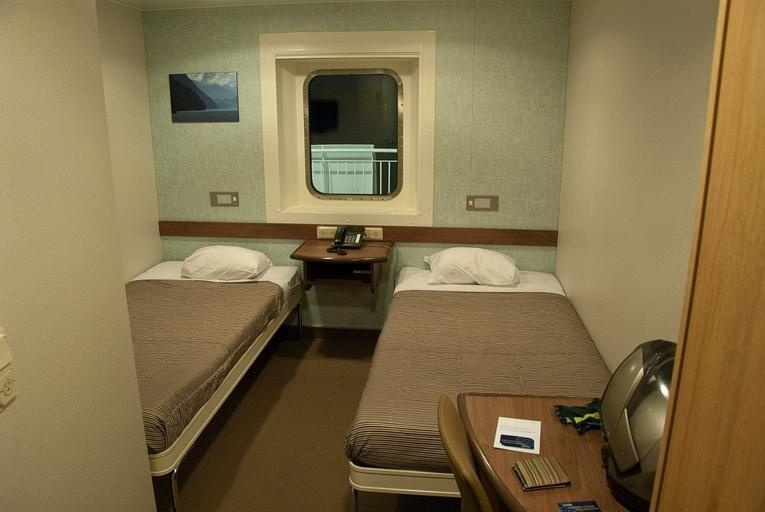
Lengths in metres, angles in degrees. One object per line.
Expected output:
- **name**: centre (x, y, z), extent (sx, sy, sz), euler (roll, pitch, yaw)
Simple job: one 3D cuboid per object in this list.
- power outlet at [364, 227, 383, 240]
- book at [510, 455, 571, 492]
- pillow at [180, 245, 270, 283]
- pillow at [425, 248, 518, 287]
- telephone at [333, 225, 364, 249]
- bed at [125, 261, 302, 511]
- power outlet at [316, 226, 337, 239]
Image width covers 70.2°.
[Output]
- **power outlet**: centre (-0.068, -0.194, 4.552), extent (0.113, 0.075, 0.016), euler (2, 21, 5)
- **book**: centre (0.586, 0.805, 2.050), extent (0.195, 0.058, 0.151), euler (-4, 13, -12)
- **pillow**: centre (-1.273, 0.062, 4.355), extent (0.451, 0.133, 0.346), euler (0, 31, -7)
- **pillow**: centre (0.689, 0.092, 4.188), extent (0.446, 0.130, 0.377), euler (0, 20, 2)
- **telephone**: centre (-0.269, -0.151, 4.413), extent (0.222, 0.165, 0.085), euler (1, -23, 6)
- **bed**: centre (-1.153, 0.704, 3.405), extent (0.861, 0.401, 1.461), euler (-1, 18, -4)
- **power outlet**: centre (-0.460, -0.204, 4.566), extent (0.124, 0.074, 0.016), euler (2, 21, 5)
